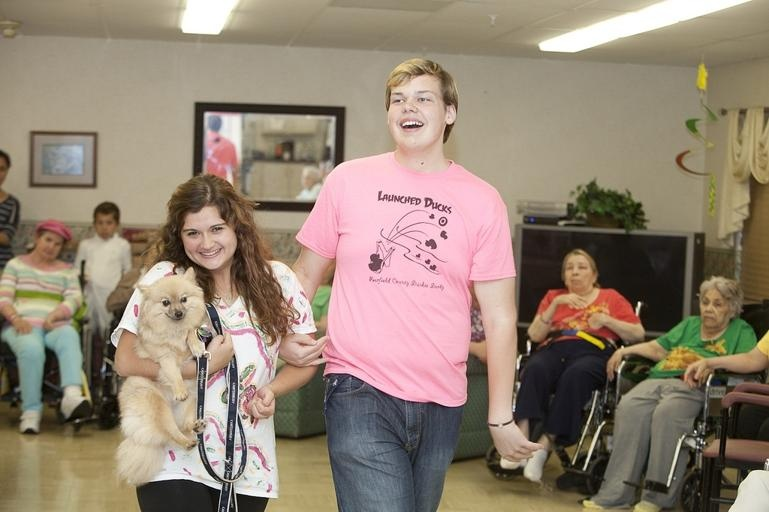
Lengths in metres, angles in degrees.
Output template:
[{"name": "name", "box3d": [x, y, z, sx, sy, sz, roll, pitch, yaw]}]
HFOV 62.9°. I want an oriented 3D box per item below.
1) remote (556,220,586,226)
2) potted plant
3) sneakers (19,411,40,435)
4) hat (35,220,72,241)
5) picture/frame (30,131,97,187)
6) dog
[{"name": "remote", "box3d": [1.959, -0.350, 6.665, 0.155, 0.037, 0.146, 0, -5, -5]}, {"name": "potted plant", "box3d": [2.292, -0.515, 6.632, 0.803, 0.337, 0.723, 8, 13, -40]}, {"name": "sneakers", "box3d": [-3.233, 1.503, 5.750, 0.163, 0.218, 0.194, 0, 4, -30]}, {"name": "hat", "box3d": [-3.177, -0.264, 6.139, 0.242, 0.105, 0.274, 21, -5, -13]}, {"name": "picture/frame", "box3d": [-4.234, -1.295, 8.244, 0.757, 0.637, 0.078, 0, -1, -6]}, {"name": "dog", "box3d": [-0.821, 0.442, 2.343, 0.303, 0.789, 0.185, 1, 4, -16]}]
